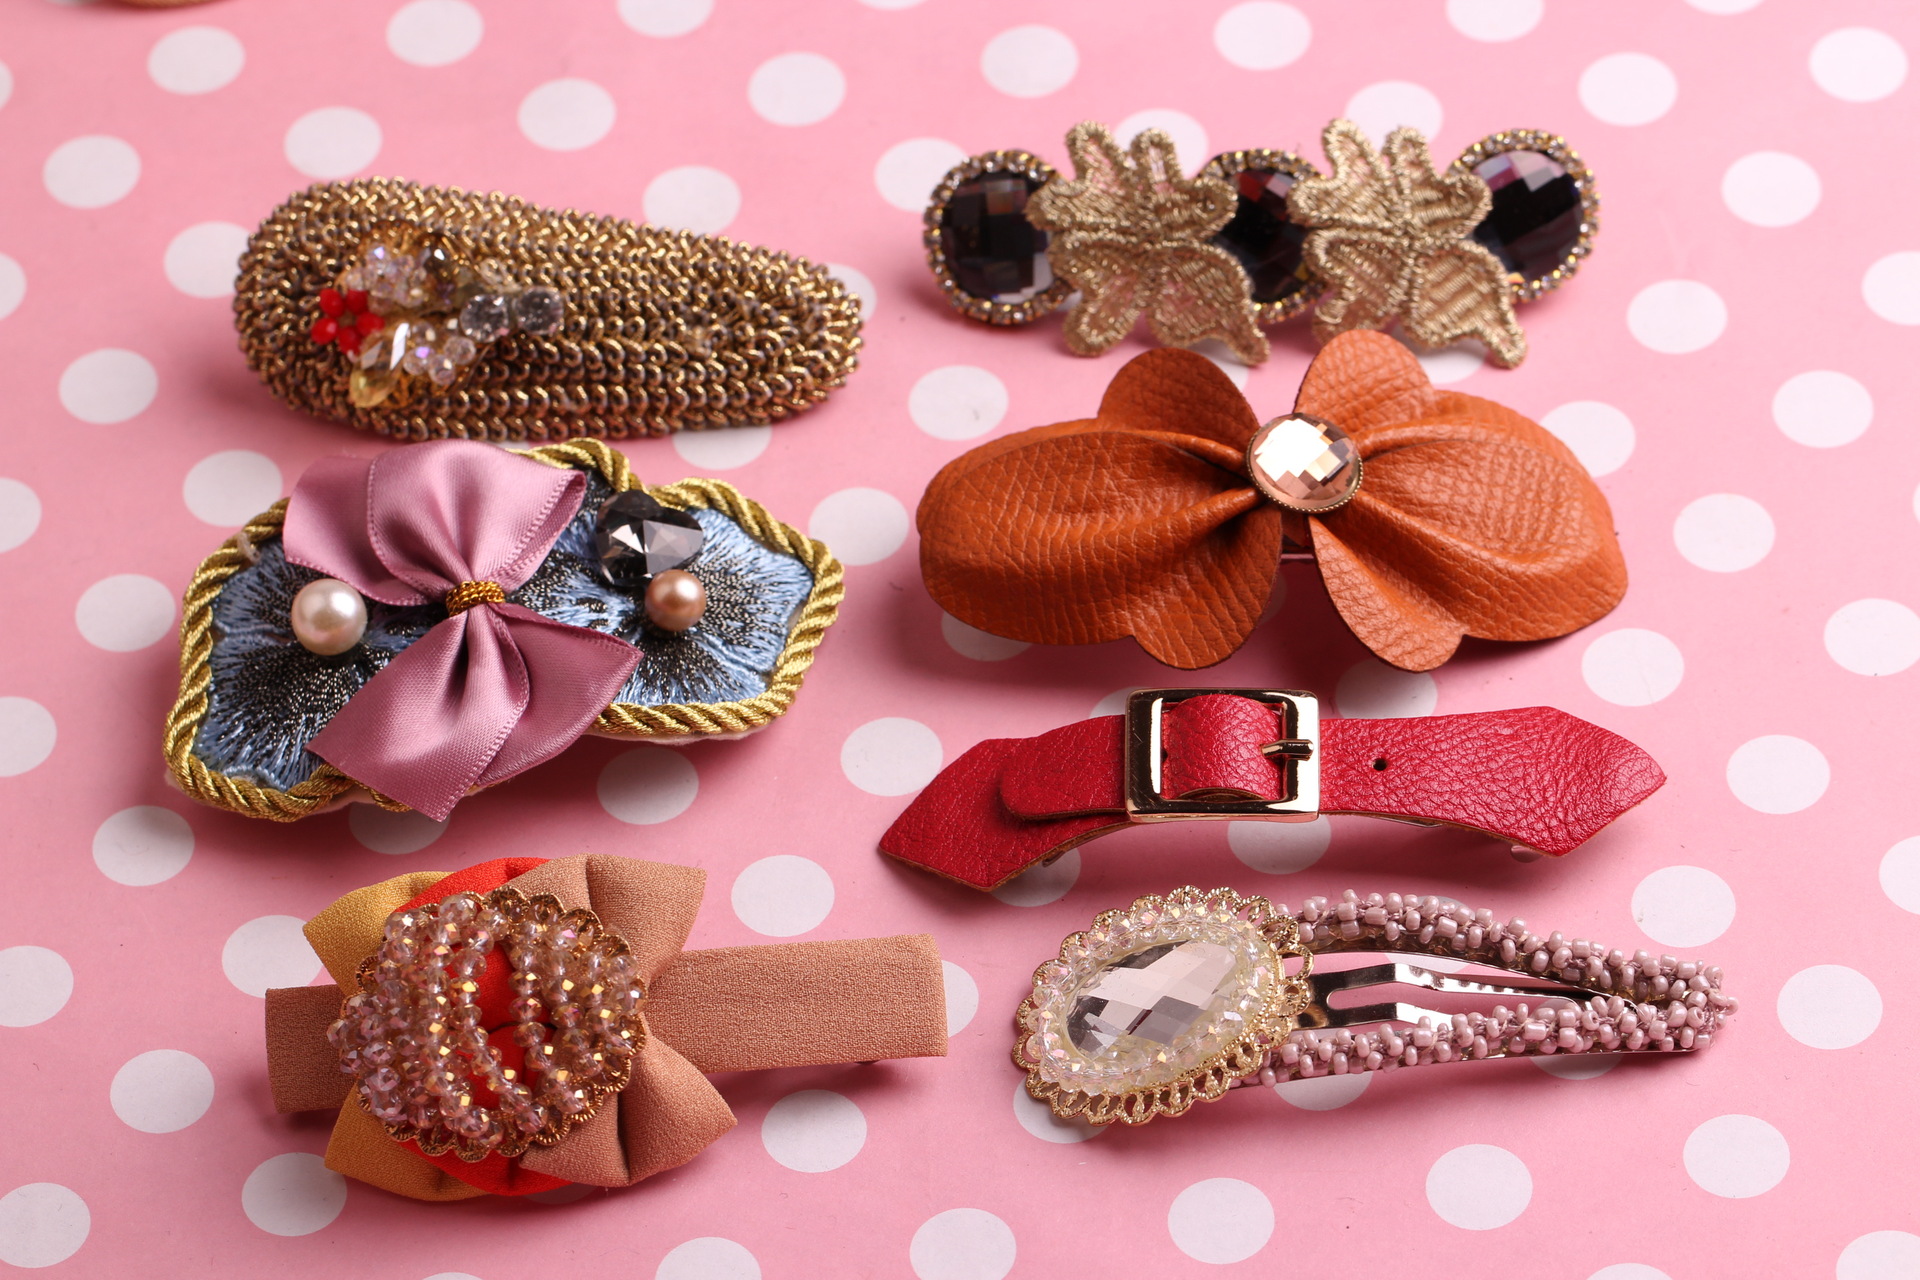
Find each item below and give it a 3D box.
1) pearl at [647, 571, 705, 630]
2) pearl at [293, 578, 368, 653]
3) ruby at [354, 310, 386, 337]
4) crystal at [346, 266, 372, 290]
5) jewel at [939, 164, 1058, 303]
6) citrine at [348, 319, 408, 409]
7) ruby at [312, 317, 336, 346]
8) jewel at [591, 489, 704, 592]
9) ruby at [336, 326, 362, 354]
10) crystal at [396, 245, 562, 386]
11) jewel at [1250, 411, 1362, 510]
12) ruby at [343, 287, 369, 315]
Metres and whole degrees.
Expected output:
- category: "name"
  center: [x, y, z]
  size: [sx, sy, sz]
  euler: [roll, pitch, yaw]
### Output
- category: "pearl"
  center: [-0.282, -0.047, 2.185]
  size: [0.057, 0.057, 0.066]
  euler: [2, 20, -9]
- category: "pearl"
  center: [-0.607, -0.027, 2.166]
  size: [0.068, 0.080, 0.070]
  euler: [4, -3, 34]
- category: "ruby"
  center: [-0.606, -0.328, 2.251]
  size: [0.025, 0.025, 0.014]
  euler: [17, -2, -1]
- category: "crystal"
  center: [-0.616, -0.371, 2.238]
  size: [0.020, 0.023, 0.008]
  euler: [-1, -1, 10]
- category: "jewel"
  center: [0.025, -0.427, 2.266]
  size: [0.116, 0.118, 0.057]
  euler: [-13, 11, 8]
- category: "citrine"
  center: [-0.595, -0.289, 2.266]
  size: [0.052, 0.089, 0.022]
  euler: [29, 13, -3]
- category: "ruby"
  center: [-0.652, -0.321, 2.252]
  size: [0.021, 0.026, 0.015]
  euler: [60, 15, 6]
- category: "jewel"
  center: [-0.313, -0.108, 2.170]
  size: [0.096, 0.037, 0.099]
  euler: [-30, 65, -25]
- category: "ruby"
  center: [-0.627, -0.313, 2.253]
  size: [0.016, 0.020, 0.017]
  euler: [19, 49, 24]
- category: "crystal"
  center: [-0.494, -0.328, 2.269]
  size: [0.155, 0.105, 0.086]
  euler: [11, 39, -13]
- category: "jewel"
  center: [0.337, -0.177, 2.165]
  size: [0.111, 0.065, 0.073]
  euler: [23, 38, 3]
- category: "ruby"
  center: [-0.617, -0.350, 2.245]
  size: [0.021, 0.021, 0.019]
  euler: [4, 12, 38]
